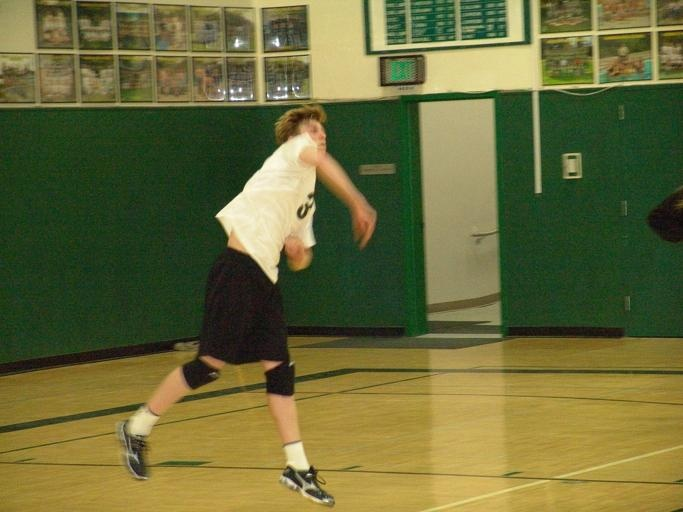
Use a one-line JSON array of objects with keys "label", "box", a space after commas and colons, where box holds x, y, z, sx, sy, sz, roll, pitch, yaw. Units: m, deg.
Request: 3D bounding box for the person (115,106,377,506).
[{"label": "person", "box": [-0.478, 0.219, 3.714, 1.308, 1.967, 0.449, -5, 10, -22]}]

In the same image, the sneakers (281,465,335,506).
[{"label": "sneakers", "box": [-0.167, 1.121, 3.517, 0.269, 0.178, 0.114, 0, 9, 3]}]
